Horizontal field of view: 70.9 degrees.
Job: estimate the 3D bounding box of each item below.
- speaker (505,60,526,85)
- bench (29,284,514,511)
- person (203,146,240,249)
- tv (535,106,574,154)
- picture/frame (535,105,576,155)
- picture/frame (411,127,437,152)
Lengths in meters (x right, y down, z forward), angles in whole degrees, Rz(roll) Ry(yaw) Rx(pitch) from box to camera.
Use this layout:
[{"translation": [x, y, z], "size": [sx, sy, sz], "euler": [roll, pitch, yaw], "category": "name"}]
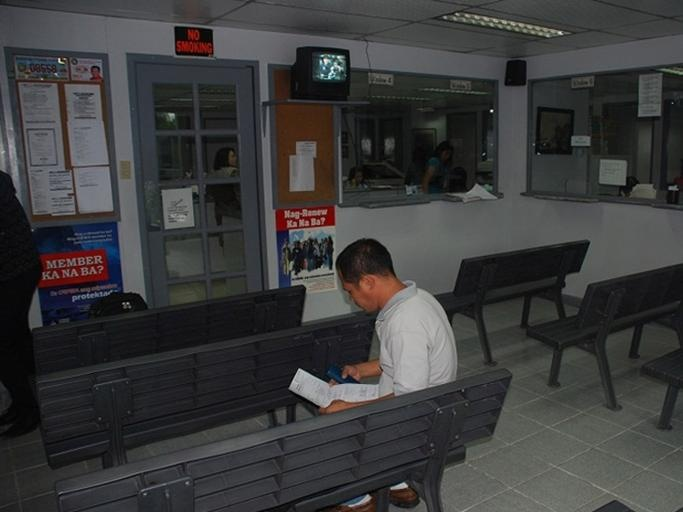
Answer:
[{"translation": [2.373, -2.480, 6.546], "size": [0.266, 0.343, 0.202], "euler": [-10, 14, -34], "category": "speaker"}, {"translation": [-0.486, 0.708, 2.399], "size": [1.697, 0.614, 1.662], "euler": [-10, 14, -34], "category": "bench"}, {"translation": [-1.209, -0.590, 4.912], "size": [0.340, 0.999, 0.085], "euler": [-10, 15, -34], "category": "person"}, {"translation": [2.844, -1.663, 6.363], "size": [0.619, 0.725, 0.059], "euler": [12, 16, 43], "category": "tv"}, {"translation": [2.851, -1.663, 6.355], "size": [0.063, 0.767, 0.655], "euler": [-10, 15, -44], "category": "picture/frame"}, {"translation": [1.024, -1.467, 6.082], "size": [0.166, 0.152, 0.302], "euler": [-11, -13, 9], "category": "picture/frame"}]
